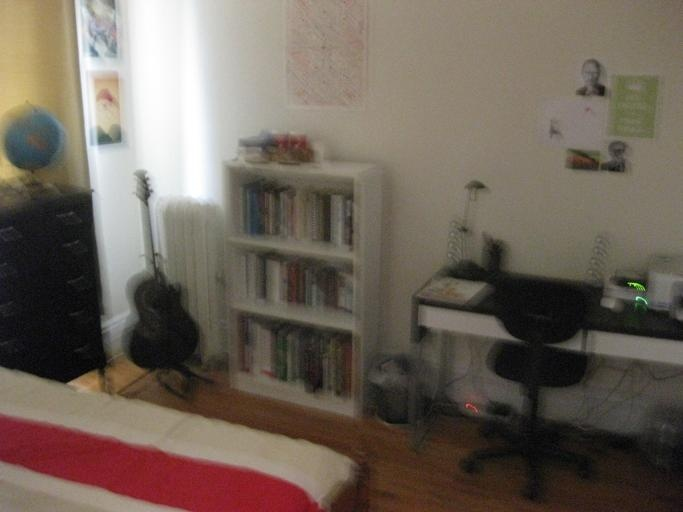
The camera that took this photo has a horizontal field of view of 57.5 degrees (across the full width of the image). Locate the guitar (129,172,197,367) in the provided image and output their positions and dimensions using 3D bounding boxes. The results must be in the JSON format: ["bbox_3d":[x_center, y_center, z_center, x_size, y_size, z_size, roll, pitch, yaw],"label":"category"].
[{"bbox_3d":[-0.832,0.086,2.723,0.331,0.867,0.256,16,23,39],"label":"guitar"}]

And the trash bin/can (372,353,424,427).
[{"bbox_3d":[0.228,0.516,2.534,0.239,0.238,0.246,1,12,10],"label":"trash bin/can"}]

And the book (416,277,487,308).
[{"bbox_3d":[0.406,0.126,2.234,0.133,0.019,0.134,7,26,25],"label":"book"}]
